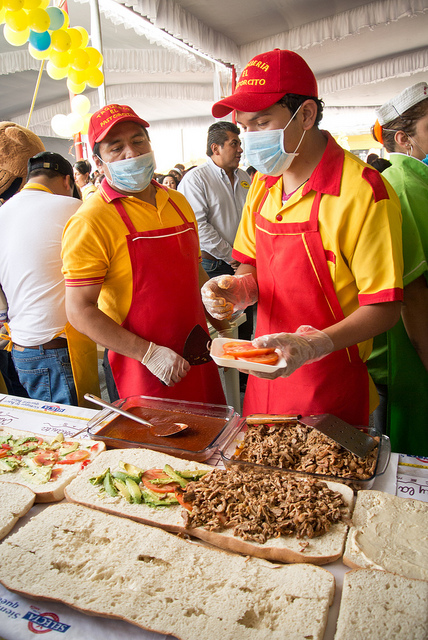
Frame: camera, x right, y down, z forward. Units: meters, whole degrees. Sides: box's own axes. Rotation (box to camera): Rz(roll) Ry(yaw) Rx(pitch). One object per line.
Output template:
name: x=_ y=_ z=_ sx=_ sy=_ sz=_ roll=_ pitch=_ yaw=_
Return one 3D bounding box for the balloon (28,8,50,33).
balloon: x=-1.255 y=-2.170 z=3.119 sx=0.149 sy=0.169 sz=0.095 roll=-12 pitch=31 yaw=-34

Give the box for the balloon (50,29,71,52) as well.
balloon: x=-1.251 y=-2.333 z=3.593 sx=0.121 sy=0.155 sz=0.123 roll=-33 pitch=10 yaw=49

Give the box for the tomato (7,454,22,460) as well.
tomato: x=-0.642 y=0.444 z=1.406 sx=0.046 sy=0.010 sz=0.017 roll=-2 pitch=9 yaw=14

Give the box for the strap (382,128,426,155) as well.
strap: x=0.870 y=-0.827 z=1.974 sx=0.040 sy=0.153 sz=0.149 roll=9 pitch=-21 yaw=-37

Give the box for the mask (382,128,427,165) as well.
mask: x=0.856 y=-0.798 z=1.943 sx=0.046 sy=0.171 sz=0.169 roll=1 pitch=5 yaw=-12

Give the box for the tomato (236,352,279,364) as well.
tomato: x=0.141 y=0.115 z=1.320 sx=0.159 sy=0.021 sz=0.059 roll=-9 pitch=10 yaw=-30

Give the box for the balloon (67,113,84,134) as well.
balloon: x=-1.535 y=-2.228 z=4.830 sx=0.167 sy=0.201 sz=0.188 roll=-7 pitch=9 yaw=-13

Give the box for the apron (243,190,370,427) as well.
apron: x=0.292 y=-0.038 z=1.649 sx=0.508 sy=0.971 sz=0.424 roll=-1 pitch=10 yaw=23

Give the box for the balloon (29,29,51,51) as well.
balloon: x=-1.340 y=-2.187 z=3.359 sx=0.148 sy=0.139 sz=0.168 roll=3 pitch=-29 yaw=-13

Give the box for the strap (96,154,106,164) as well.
strap: x=-0.500 y=-0.728 z=1.925 sx=0.010 sy=0.079 sz=0.010 roll=-33 pitch=-15 yaw=-32

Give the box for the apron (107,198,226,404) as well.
apron: x=-0.211 y=-0.048 z=2.037 sx=0.560 sy=1.074 sz=0.273 roll=-10 pitch=11 yaw=-30

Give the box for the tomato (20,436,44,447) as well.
tomato: x=-0.606 y=0.413 z=1.464 sx=0.047 sy=0.015 sz=0.071 roll=2 pitch=10 yaw=36

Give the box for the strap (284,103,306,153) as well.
strap: x=0.278 y=-0.660 z=1.493 sx=0.109 sy=0.107 sz=0.029 roll=11 pitch=14 yaw=-24

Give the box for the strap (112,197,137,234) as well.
strap: x=-0.386 y=-0.456 z=1.862 sx=0.045 sy=0.163 sz=0.104 roll=-14 pitch=13 yaw=-43

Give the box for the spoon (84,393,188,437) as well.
spoon: x=-0.284 y=0.323 z=1.551 sx=0.389 sy=0.126 sz=0.109 roll=0 pitch=10 yaw=26

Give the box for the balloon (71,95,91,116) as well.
balloon: x=-1.469 y=-2.404 z=4.765 sx=0.192 sy=0.243 sz=0.306 roll=-7 pitch=9 yaw=-13

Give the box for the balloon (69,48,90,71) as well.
balloon: x=-1.226 y=-2.403 z=3.953 sx=0.174 sy=0.163 sz=0.230 roll=-7 pitch=9 yaw=-13

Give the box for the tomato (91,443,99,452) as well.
tomato: x=-0.390 y=0.417 z=1.423 sx=0.024 sy=0.010 sz=0.039 roll=-6 pitch=9 yaw=-11
